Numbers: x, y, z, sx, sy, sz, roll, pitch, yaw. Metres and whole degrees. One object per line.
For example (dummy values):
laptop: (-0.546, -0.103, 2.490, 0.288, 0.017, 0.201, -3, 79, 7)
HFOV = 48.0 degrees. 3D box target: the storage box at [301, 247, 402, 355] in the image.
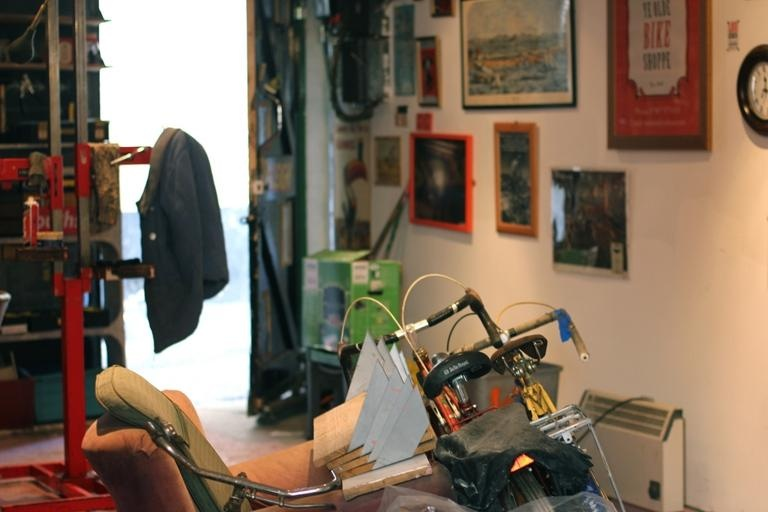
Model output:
storage box: (-0.285, 0.384, 6.977, 0.420, 0.778, 0.762, -1, 1, -35)

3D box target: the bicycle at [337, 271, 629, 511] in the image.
bicycle: (0.560, 0.760, 4.820, 1.078, 0.689, 1.666, -22, 45, 1)
